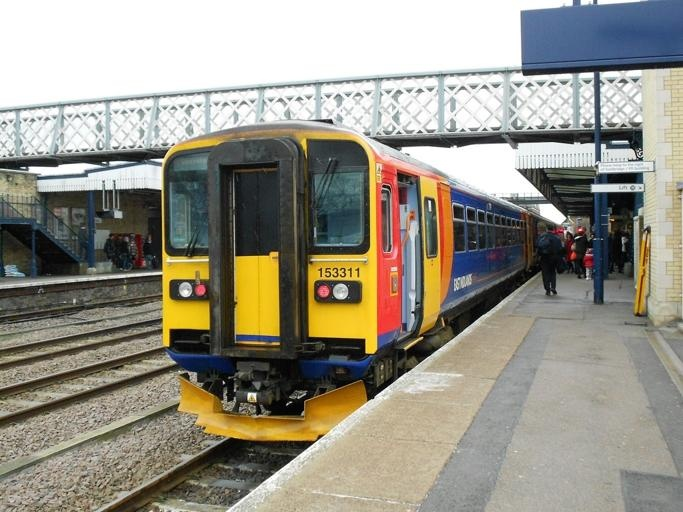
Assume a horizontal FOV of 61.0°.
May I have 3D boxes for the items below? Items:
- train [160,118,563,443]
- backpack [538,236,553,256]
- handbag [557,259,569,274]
[{"bbox_3d":[0.250,0.128,9.316,2.519,4.099,5.946,2,5,28],"label":"train"},{"bbox_3d":[5.550,-0.341,15.859,0.383,0.629,0.432,2,16,27],"label":"backpack"},{"bbox_3d":[8.953,0.364,23.491,0.434,0.767,1.736,-4,3,22],"label":"handbag"}]
